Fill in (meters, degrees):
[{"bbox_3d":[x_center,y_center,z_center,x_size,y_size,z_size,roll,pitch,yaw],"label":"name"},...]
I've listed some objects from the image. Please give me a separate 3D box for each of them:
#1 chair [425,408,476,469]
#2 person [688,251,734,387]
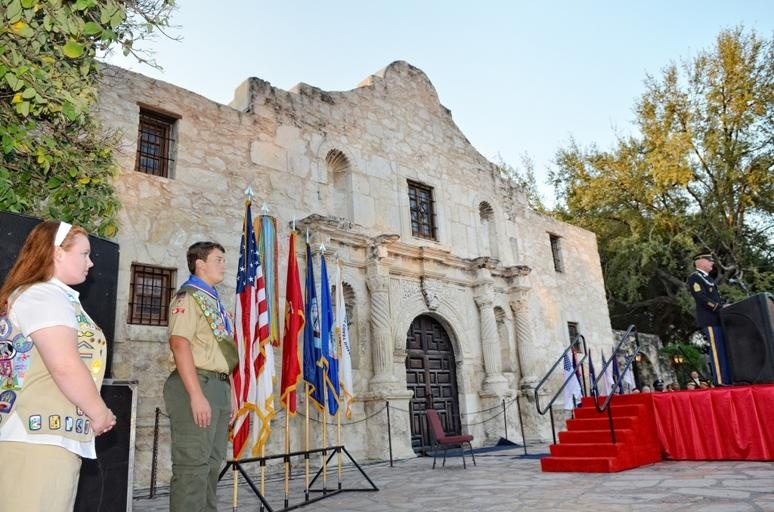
[{"bbox_3d":[1.180,3.325,11.198,0.846,1.032,0.697,-7,-13,18],"label":"chair"},{"bbox_3d":[5.338,0.989,9.853,0.448,2.186,0.606,-13,-19,26],"label":"person"}]
